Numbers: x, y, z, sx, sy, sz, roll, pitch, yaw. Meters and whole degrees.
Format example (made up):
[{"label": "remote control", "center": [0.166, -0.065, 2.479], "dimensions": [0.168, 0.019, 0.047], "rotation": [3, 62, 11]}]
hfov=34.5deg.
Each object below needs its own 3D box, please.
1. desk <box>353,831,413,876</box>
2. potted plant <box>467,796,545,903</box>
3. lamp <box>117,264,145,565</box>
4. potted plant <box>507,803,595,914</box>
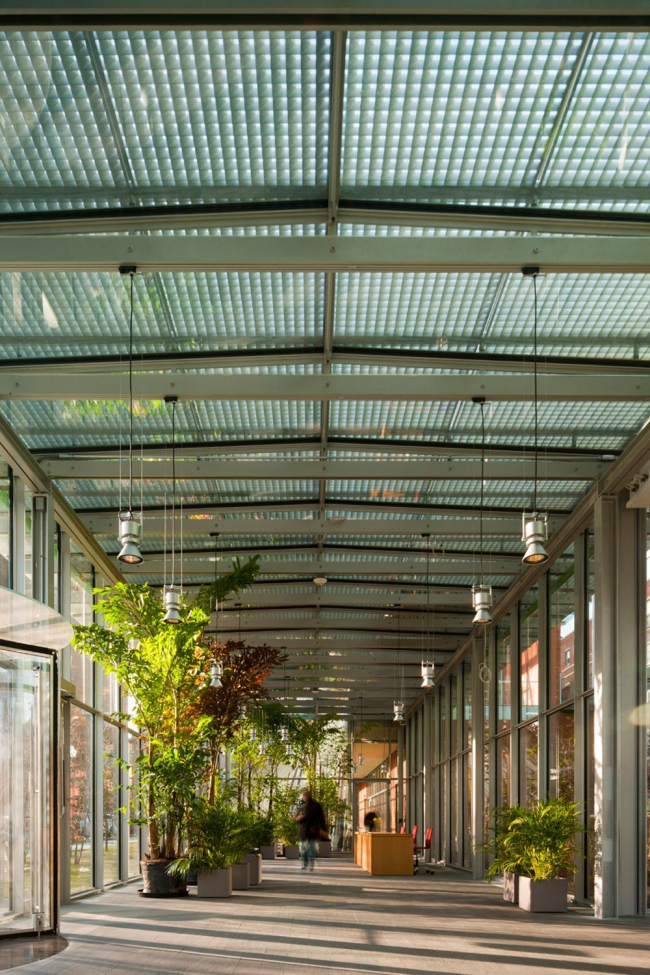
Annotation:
[{"label": "desk", "center": [1.032, 6.002, 17.076], "dimensions": [0.680, 0.691, 0.700], "rotation": [-3, -21, 9]}, {"label": "potted plant", "center": [2.004, 3.752, 10.656], "dimensions": [0.643, 0.817, 0.743], "rotation": [11, -37, -15]}, {"label": "lamp", "center": [-1.349, -0.506, 7.461], "dimensions": [0.270, 2.159, 0.289], "rotation": [3, 8, 16]}, {"label": "potted plant", "center": [2.166, 3.644, 10.359], "dimensions": [0.674, 1.029, 0.972], "rotation": [-3, -16, 14]}]
